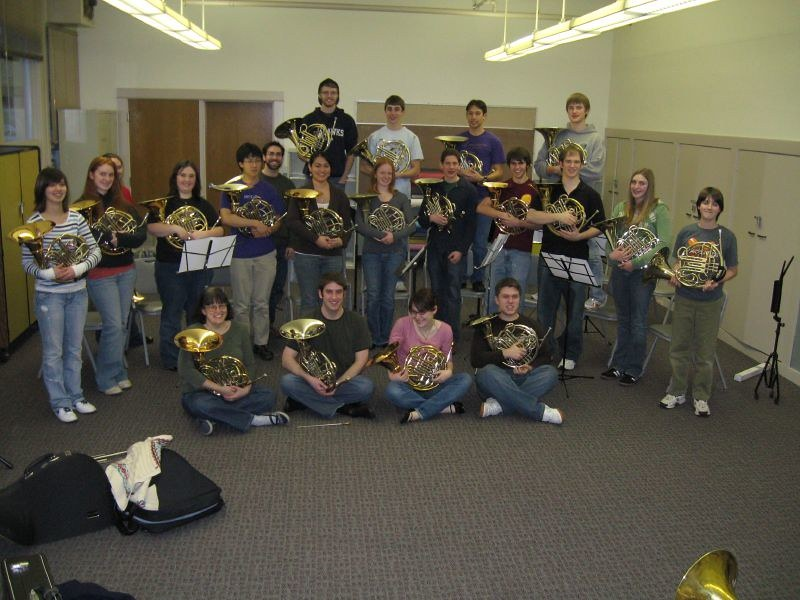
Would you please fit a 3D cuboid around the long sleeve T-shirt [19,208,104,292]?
[{"bbox_3d":[-2.618,-0.328,4.929,0.465,0.739,0.320,-11,11,-7],"label":"long sleeve T-shirt"}]

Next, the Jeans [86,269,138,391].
[{"bbox_3d":[-2.481,0.247,5.432,0.283,1.030,0.441,3,18,11],"label":"Jeans"}]

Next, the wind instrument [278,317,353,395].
[{"bbox_3d":[-0.688,0.393,4.833,0.521,0.701,0.531,-9,16,5],"label":"wind instrument"}]

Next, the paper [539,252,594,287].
[{"bbox_3d":[1.498,-0.277,5.651,0.453,0.292,0.039,9,56,51],"label":"paper"}]

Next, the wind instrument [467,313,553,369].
[{"bbox_3d":[0.941,0.338,5.222,0.683,0.461,0.338,2,17,5],"label":"wind instrument"}]

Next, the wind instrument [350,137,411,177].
[{"bbox_3d":[-0.228,-1.605,6.807,0.620,0.372,0.321,15,45,1],"label":"wind instrument"}]

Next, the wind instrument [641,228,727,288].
[{"bbox_3d":[2.334,-0.324,5.151,0.573,0.279,0.382,-6,58,33],"label":"wind instrument"}]

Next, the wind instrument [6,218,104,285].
[{"bbox_3d":[-2.593,-0.379,4.788,0.422,0.646,0.300,0,17,-8],"label":"wind instrument"}]

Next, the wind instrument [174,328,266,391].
[{"bbox_3d":[-1.426,0.471,4.856,0.373,0.543,0.319,-13,58,11],"label":"wind instrument"}]

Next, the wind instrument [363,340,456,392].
[{"bbox_3d":[0.082,0.516,4.873,0.529,0.339,0.256,20,8,-16],"label":"wind instrument"}]

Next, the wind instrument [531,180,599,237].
[{"bbox_3d":[1.596,-0.870,6.017,0.622,0.609,0.331,10,-2,16],"label":"wind instrument"}]

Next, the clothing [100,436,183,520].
[{"bbox_3d":[-1.551,1.086,3.812,0.343,0.149,0.480,-15,41,-11],"label":"clothing"}]

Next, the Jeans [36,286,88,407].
[{"bbox_3d":[-2.618,0.394,4.937,0.381,0.951,0.321,-9,20,-26],"label":"Jeans"}]
